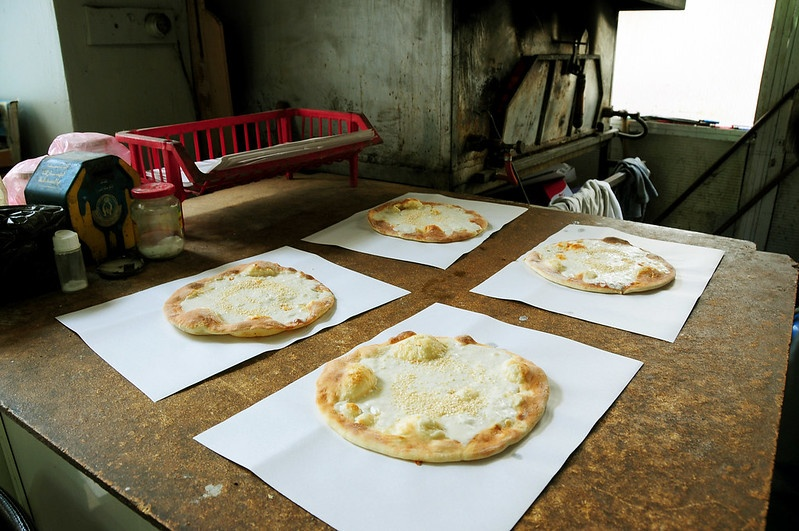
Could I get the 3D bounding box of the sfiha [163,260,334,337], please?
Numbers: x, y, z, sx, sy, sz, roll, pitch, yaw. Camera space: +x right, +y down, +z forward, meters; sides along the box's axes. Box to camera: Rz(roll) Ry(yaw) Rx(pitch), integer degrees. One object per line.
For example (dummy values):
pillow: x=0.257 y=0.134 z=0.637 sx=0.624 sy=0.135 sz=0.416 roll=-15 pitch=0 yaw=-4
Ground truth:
sfiha: x=-0.376 y=0.086 z=1.374 sx=0.416 sy=0.046 sz=0.425 roll=5 pitch=22 yaw=8

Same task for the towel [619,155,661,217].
towel: x=1.435 y=-0.446 z=3.220 sx=0.145 sy=0.409 sz=0.311 roll=-1 pitch=38 yaw=27

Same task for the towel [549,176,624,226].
towel: x=0.857 y=-0.300 z=2.418 sx=0.403 sy=0.154 sz=0.181 roll=-20 pitch=25 yaw=-41

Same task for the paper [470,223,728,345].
paper: x=0.490 y=0.060 z=1.352 sx=0.382 sy=0.011 sz=0.427 roll=15 pitch=31 yaw=31
